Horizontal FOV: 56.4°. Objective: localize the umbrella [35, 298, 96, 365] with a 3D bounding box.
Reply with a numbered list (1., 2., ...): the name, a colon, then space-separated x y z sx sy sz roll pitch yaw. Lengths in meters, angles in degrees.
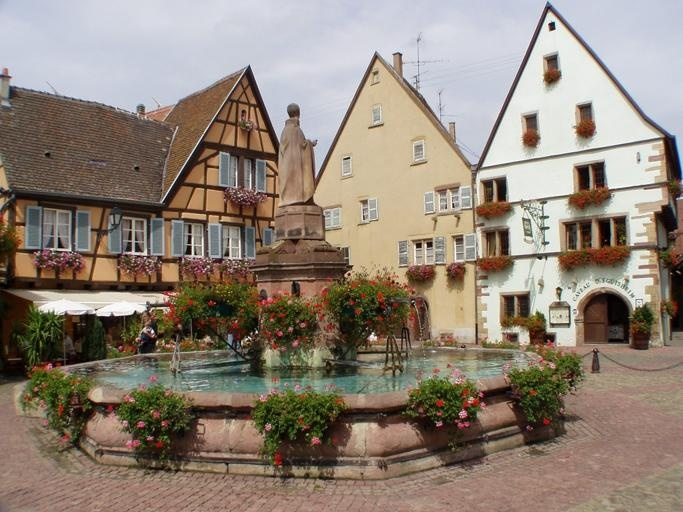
1. umbrella: -8.766 2.378 20.102 1.640 2.013 1.741 0 -3 2
